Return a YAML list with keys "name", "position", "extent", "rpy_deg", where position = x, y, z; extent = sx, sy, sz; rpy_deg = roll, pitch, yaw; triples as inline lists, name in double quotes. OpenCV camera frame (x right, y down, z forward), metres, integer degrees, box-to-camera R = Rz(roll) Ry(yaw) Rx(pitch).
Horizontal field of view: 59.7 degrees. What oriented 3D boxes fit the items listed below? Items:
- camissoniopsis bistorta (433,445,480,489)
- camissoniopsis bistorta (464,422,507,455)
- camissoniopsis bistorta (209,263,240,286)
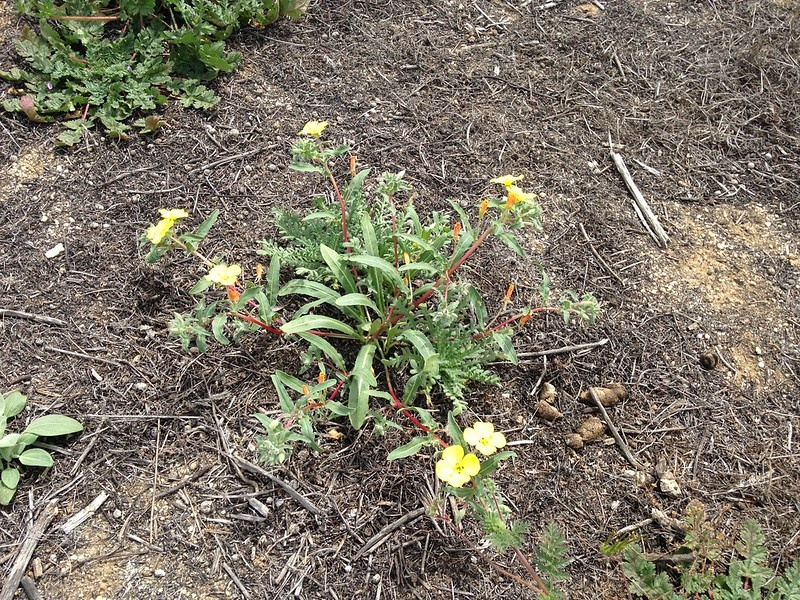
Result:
- name: "camissoniopsis bistorta"
  position: [0.291, 0.904, 3.782]
  extent: [0.212, 0.183, 0.216]
  rpy_deg: [-34, 72, -31]
- name: "camissoniopsis bistorta"
  position: [0.457, 0.754, 3.846]
  extent: [0.189, 0.095, 0.173]
  rpy_deg: [-20, 65, -26]
- name: "camissoniopsis bistorta"
  position: [-1.040, -0.112, 4.108]
  extent: [0.168, 0.067, 0.172]
  rpy_deg: [-18, 56, -18]
